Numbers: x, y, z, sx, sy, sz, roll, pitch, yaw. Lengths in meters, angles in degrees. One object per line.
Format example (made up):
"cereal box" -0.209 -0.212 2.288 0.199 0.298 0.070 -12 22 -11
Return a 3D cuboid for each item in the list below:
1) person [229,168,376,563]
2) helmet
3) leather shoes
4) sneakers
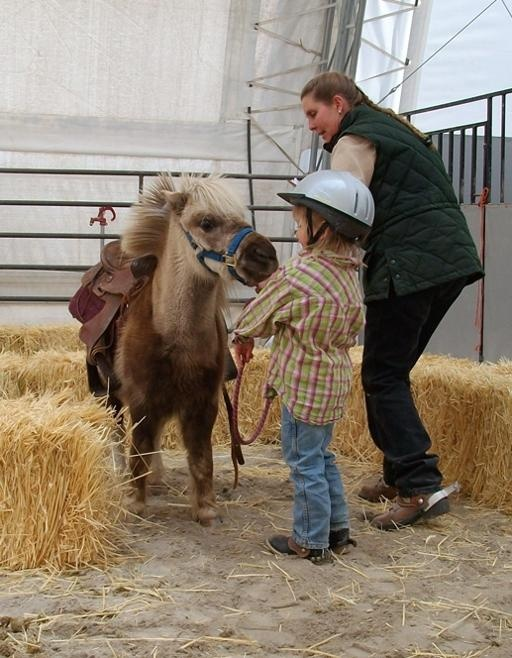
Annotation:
"person" 0.132 0.113 2.390 0.427 1.293 0.279 7 5 27
"helmet" 0.240 -0.430 2.356 0.313 0.180 0.208 21 14 18
"leather shoes" 0.533 0.684 2.769 0.467 0.176 0.139 -9 27 28
"sneakers" 0.188 0.720 2.421 0.298 0.155 0.097 8 3 2
